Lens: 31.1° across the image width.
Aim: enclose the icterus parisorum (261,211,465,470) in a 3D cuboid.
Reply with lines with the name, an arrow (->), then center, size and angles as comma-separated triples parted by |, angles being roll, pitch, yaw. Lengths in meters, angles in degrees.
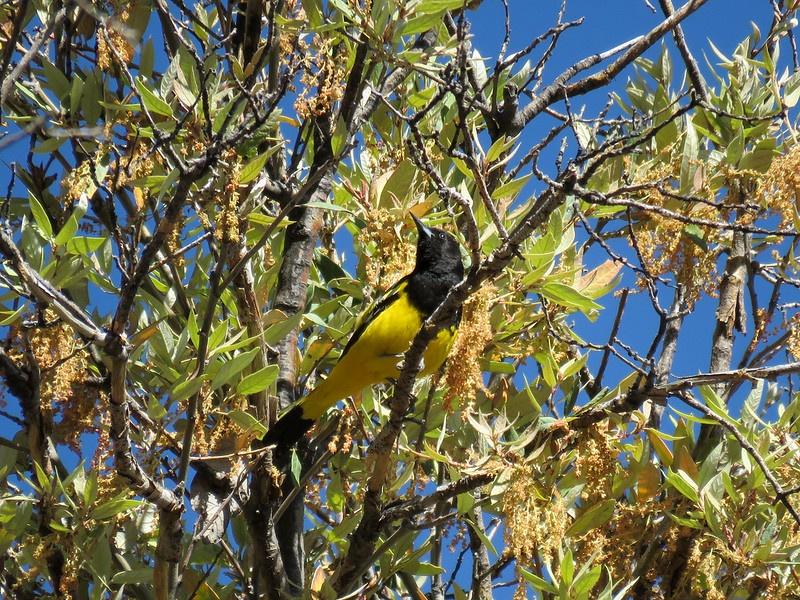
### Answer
icterus parisorum -> -0.187, 0.220, 8.744 | 1.562, 0.735, 0.478 | -32, -45, 28
